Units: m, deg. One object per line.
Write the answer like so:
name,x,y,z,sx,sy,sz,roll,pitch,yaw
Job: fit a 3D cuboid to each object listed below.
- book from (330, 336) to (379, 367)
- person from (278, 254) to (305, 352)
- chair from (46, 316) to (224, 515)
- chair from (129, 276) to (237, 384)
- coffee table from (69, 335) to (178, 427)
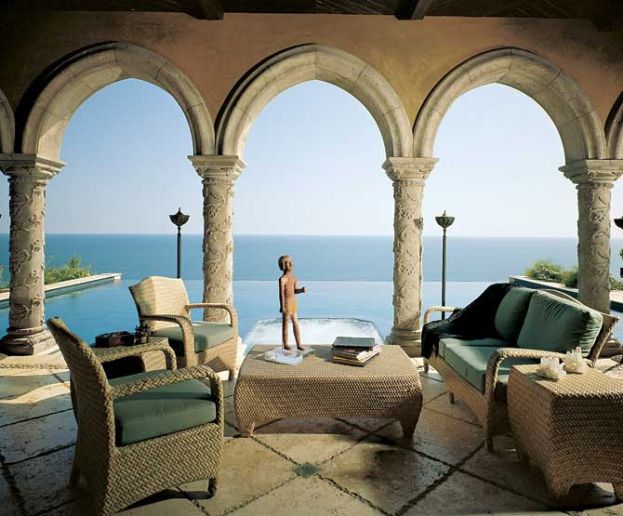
book,0.369,0.731,4.203,0.245,0.083,0.271,5,11,30
person,-0.172,0.384,4.522,0.212,0.819,0.580,1,2,-2
chair,-1.286,0.993,4.026,1.481,1.519,1.044,-4,4,-29
chair,-1.141,0.693,4.951,1.006,0.830,0.920,0,8,-35
coffee table,-1.411,0.751,4.033,0.877,0.628,0.817,-4,4,-32
